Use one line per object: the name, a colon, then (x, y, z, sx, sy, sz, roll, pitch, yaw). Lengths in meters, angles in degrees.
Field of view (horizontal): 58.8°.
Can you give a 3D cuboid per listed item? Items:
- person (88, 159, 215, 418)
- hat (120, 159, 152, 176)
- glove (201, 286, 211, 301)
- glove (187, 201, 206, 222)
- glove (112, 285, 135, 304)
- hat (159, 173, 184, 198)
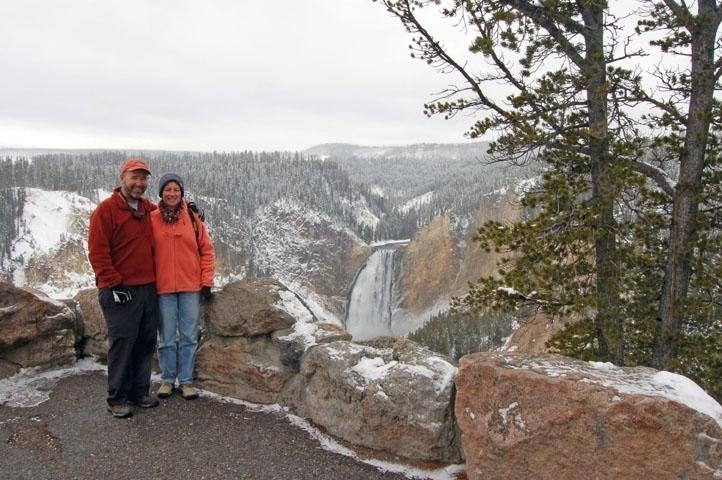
person: (-4.054, 0.852, 10.976, 1.087, 4.376, 0.735, 0, 9, -23)
hat: (-3.934, -1.272, 11.012, 0.315, 0.232, 0.430, 8, -8, -41)
glove: (-2.879, 1.014, 11.836, 0.149, 0.271, 0.187, -4, 34, -37)
glove: (-3.019, -0.515, 11.736, 0.137, 0.367, 0.313, -24, -1, 23)
glove: (-4.049, 0.967, 10.801, 0.243, 0.333, 0.329, 5, -3, 1)
hat: (-3.425, -0.968, 11.537, 0.397, 0.433, 0.449, -1, -5, -20)
